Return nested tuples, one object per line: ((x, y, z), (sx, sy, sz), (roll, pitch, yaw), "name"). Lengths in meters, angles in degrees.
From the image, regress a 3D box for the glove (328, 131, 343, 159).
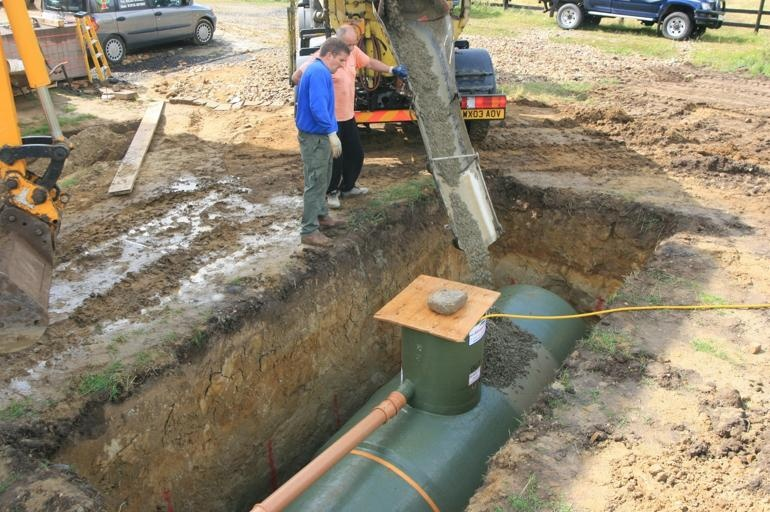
((-0.593, -1.286, 6.388), (0.124, 0.313, 0.268), (-3, 29, -5), "glove")

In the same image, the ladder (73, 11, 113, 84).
((-6.678, -4.726, 12.501), (0.500, 1.440, 0.832), (-14, 32, -22), "ladder")

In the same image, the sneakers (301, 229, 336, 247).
((-0.824, -0.209, 6.728), (0.362, 0.143, 0.191), (3, 31, 14), "sneakers")

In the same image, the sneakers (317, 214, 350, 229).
((-0.686, -0.471, 7.096), (0.436, 0.241, 0.136), (-6, 29, -7), "sneakers")

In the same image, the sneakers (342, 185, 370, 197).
((-0.417, -0.898, 7.856), (0.435, 0.162, 0.142), (-9, 30, -13), "sneakers")
